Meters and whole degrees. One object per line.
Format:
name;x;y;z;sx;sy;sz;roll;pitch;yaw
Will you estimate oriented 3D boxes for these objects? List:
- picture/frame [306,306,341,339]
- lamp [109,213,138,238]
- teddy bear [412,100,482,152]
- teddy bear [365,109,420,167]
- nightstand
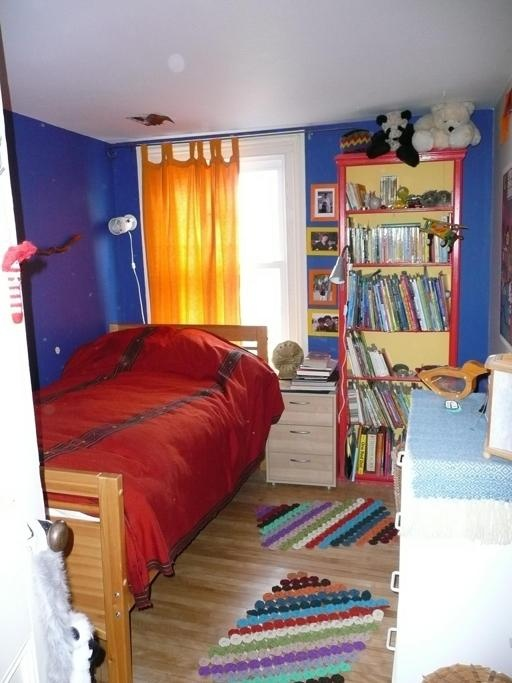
picture/frame;0.490;-0.141;3.815;0.236;0.200;0.018;3;13;22
lamp;-1.054;-0.901;4.052;0.216;0.189;0.210;-2;16;8
teddy bear;1.092;-1.224;3.034;0.335;0.330;0.228;-4;-32;11
teddy bear;0.813;-1.215;3.164;0.307;0.352;0.227;-1;6;12
nightstand;0.311;0.567;3.545;0.633;0.902;0.615;1;3;12
